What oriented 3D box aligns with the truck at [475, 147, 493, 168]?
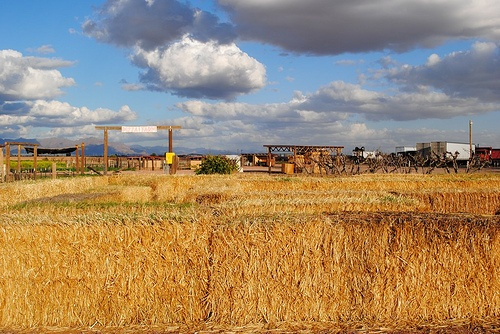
[{"bbox_3d":[18.977,-0.728,48.314,1.730,1.727,2.850,-1,-3,21],"label":"truck"}]
